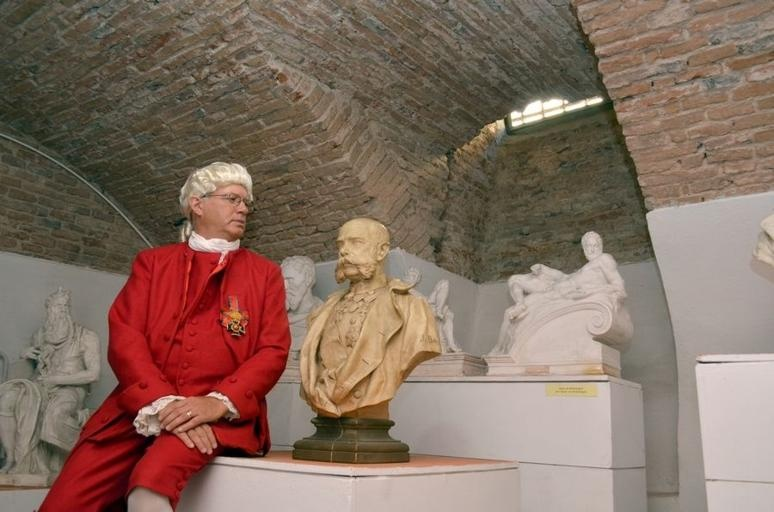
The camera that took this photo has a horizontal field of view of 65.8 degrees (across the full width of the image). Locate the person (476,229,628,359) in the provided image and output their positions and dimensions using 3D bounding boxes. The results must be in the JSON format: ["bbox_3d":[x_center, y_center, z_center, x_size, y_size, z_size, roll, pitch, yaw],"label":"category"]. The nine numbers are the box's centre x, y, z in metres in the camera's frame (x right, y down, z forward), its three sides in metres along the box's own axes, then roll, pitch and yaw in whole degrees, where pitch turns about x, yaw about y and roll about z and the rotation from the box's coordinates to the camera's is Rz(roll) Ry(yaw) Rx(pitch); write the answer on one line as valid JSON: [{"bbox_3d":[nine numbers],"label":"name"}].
[{"bbox_3d":[1.750,0.336,5.714,1.438,0.926,1.060,-4,-8,26],"label":"person"}]

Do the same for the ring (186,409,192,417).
[{"bbox_3d":[-1.098,0.866,3.300,0.046,0.038,0.012,2,-11,-16],"label":"ring"}]

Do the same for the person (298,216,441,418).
[{"bbox_3d":[-0.106,0.385,3.840,0.880,1.268,0.311,1,-15,2],"label":"person"}]
